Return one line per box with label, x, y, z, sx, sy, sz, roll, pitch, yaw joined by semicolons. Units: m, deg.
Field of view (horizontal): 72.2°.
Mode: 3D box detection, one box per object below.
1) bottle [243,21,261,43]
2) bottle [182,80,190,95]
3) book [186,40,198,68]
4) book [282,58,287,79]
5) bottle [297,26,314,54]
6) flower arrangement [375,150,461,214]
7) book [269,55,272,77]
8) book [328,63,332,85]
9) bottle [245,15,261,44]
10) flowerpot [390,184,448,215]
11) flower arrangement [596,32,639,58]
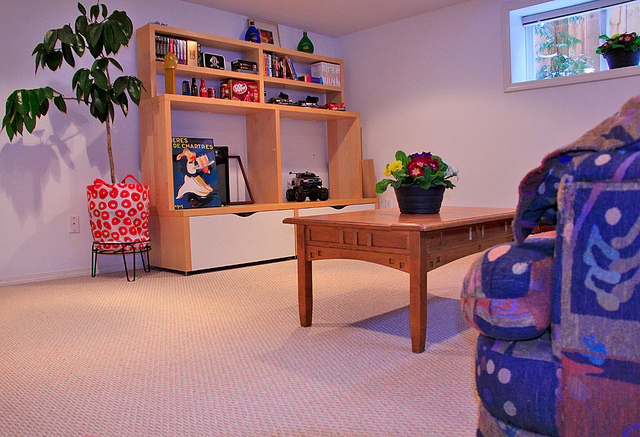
bottle;-0.764;-2.083;4.894;0.153;0.259;0.254;-5;10;-22
bottle;-1.304;-1.273;4.257;0.064;0.135;0.083;-7;11;-33
book;-1.251;-1.623;4.302;0.111;0.236;0.041;-9;12;-41
book;-0.405;-1.712;4.977;0.034;0.231;0.124;0;9;9
bottle;-0.185;-2.163;5.307;0.182;0.348;0.344;-1;9;-2
flower arrangement;0.559;-0.217;2.542;0.402;0.277;0.388;-2;3;-12
book;-0.547;-1.700;4.856;0.025;0.228;0.048;-1;9;4
book;0.122;-1.798;5.449;0.081;0.253;0.036;-8;11;-37
bottle;-0.750;-2.086;4.844;0.173;0.313;0.226;-2;9;-5
flowerpot;0.604;-0.126;2.665;0.369;0.182;0.368;-1;-2;44
flower arrangement;2.687;-1.584;3.959;0.311;0.158;0.190;3;10;25
